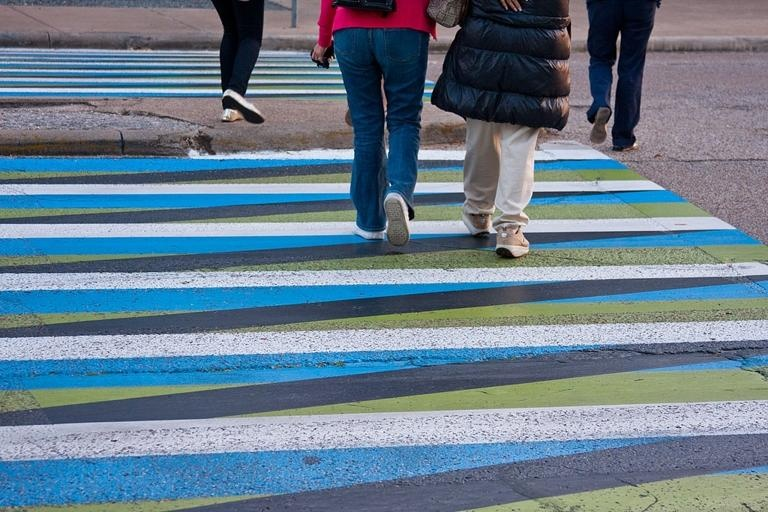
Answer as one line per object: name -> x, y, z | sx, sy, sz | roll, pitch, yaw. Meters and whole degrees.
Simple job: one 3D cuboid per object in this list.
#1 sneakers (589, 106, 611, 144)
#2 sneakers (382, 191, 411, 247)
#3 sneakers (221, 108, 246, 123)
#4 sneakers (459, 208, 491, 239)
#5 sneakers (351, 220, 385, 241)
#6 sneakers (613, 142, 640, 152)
sneakers -> 2.272, -1.359, 13.004 | 0.221, 0.351, 0.166 | 8, 16, -2
sneakers -> 0.130, -0.299, 10.248 | 0.216, 0.494, 0.227 | 1, 27, -1
sneakers -> -1.594, -1.527, 13.517 | 0.121, 0.084, 0.259 | 8, 13, 29
sneakers -> 0.835, -0.278, 10.824 | 0.158, 0.126, 0.324 | -2, 24, -6
sneakers -> -0.115, -0.224, 10.876 | 0.133, 0.096, 0.268 | -4, 20, -14
sneakers -> 2.614, -1.162, 13.314 | 0.115, 0.106, 0.296 | 2, -1, 42
